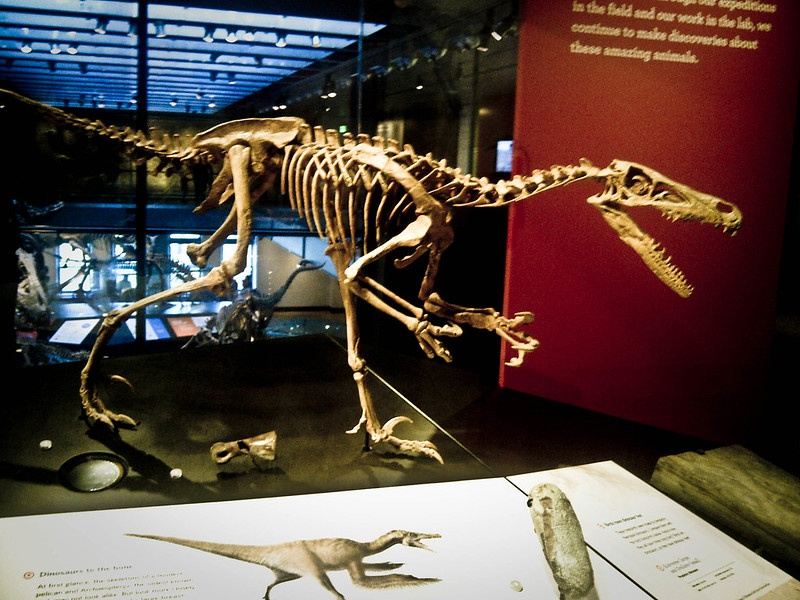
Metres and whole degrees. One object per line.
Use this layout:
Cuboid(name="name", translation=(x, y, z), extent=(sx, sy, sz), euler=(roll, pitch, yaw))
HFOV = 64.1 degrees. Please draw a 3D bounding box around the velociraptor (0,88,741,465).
Cuboid(name="velociraptor", translation=(-0.210, -0.164, 4.214), extent=(3.609, 1.949, 1.633), euler=(5, 18, 7))
